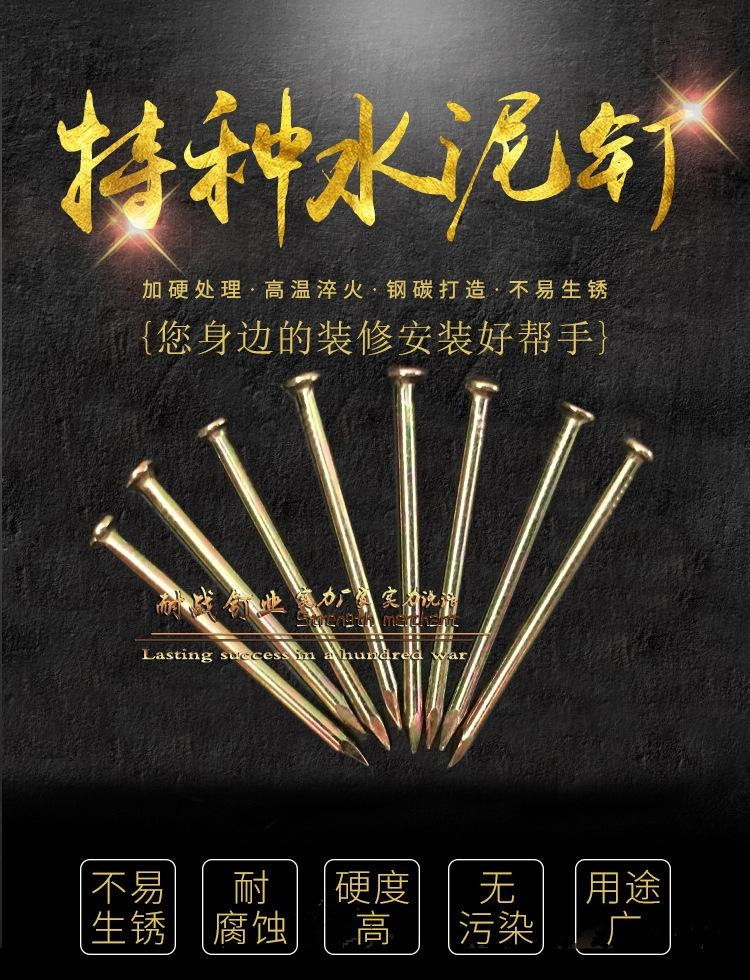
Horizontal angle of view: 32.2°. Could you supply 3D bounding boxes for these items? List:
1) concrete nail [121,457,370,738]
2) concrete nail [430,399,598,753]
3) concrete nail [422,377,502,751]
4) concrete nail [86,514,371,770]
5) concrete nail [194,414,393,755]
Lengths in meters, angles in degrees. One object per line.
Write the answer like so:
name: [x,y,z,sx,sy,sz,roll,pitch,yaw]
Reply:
concrete nail: [-0.204,0.176,1.936,0.078,0.541,0.079,-46,-5,-38]
concrete nail: [0.206,0.148,1.946,0.093,0.554,0.090,27,-4,-22]
concrete nail: [0.132,0.104,1.986,0.099,0.573,0.094,10,-6,4]
concrete nail: [-0.229,0.243,1.933,0.579,0.081,0.079,32,-19,6]
concrete nail: [-0.129,0.154,1.937,0.093,0.589,0.087,-38,-6,12]
